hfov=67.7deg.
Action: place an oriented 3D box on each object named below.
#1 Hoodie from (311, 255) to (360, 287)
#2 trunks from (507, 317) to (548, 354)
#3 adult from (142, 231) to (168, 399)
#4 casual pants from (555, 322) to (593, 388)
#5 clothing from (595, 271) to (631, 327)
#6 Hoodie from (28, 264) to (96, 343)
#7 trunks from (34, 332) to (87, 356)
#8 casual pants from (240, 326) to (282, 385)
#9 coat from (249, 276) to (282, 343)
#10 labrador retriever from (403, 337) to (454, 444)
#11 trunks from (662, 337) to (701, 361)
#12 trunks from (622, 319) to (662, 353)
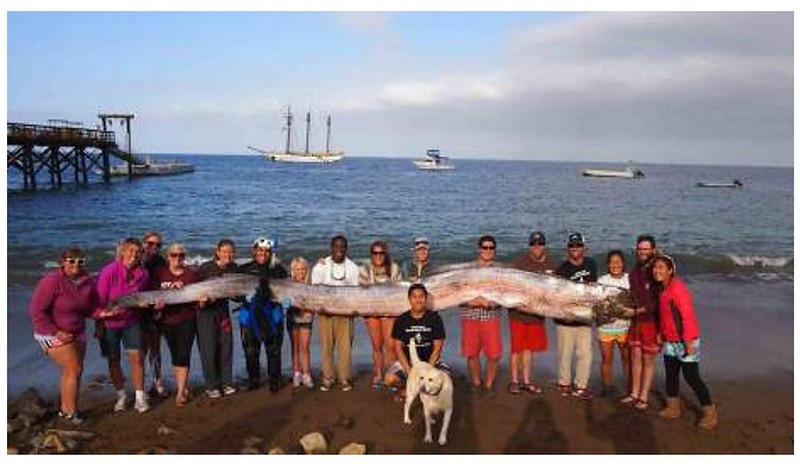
[{"bbox_3d":[-1.432,0.876,13.474,1.145,0.848,0.583,0,-2,-2],"label":"Hoodie"},{"bbox_3d":[2.705,2.114,13.279,1.093,1.000,0.657,-1,-6,4],"label":"trunks"},{"bbox_3d":[-5.413,1.819,13.070,0.718,3.699,0.527,2,11,-3],"label":"adult"},{"bbox_3d":[3.832,2.682,13.110,0.683,1.446,0.322,-1,9,18],"label":"casual pants"},{"bbox_3d":[4.614,1.425,12.849,0.402,1.036,0.792,7,-7,-17],"label":"clothing"},{"bbox_3d":[-6.925,1.425,12.313,1.033,1.471,1.393,2,-2,29],"label":"Hoodie"},{"bbox_3d":[-7.044,2.157,12.131,0.938,0.502,0.725,-3,-1,17],"label":"trunks"},{"bbox_3d":[-3.107,2.656,13.333,0.884,1.636,0.537,5,15,-4],"label":"casual pants"},{"bbox_3d":[-2.931,1.627,12.951,0.316,1.195,0.717,1,0,23],"label":"coat"},{"bbox_3d":[0.540,3.118,11.946,0.809,2.015,0.952,-9,10,-30],"label":"labrador retriever"},{"bbox_3d":[5.785,2.440,12.219,0.488,0.481,0.699,17,-33,-34],"label":"trunks"},{"bbox_3d":[5.146,2.139,12.951,0.900,0.934,0.590,-8,-11,44],"label":"trunks"}]
